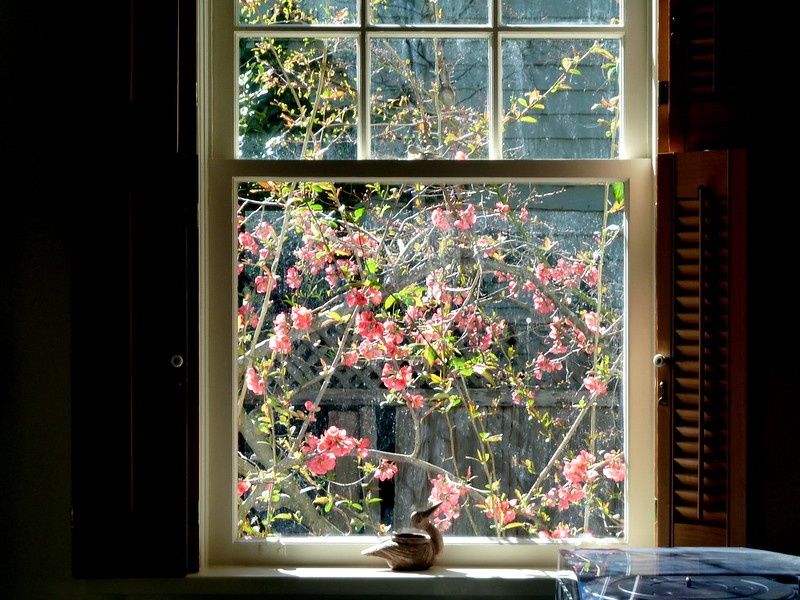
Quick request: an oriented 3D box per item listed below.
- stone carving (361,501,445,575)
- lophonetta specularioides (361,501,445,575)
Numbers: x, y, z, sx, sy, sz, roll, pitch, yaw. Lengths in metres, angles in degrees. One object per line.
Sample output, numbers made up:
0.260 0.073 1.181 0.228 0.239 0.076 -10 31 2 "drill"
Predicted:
0.015 0.744 3.507 0.228 0.231 0.215 5 0 16 "stone carving"
0.016 0.754 3.481 0.228 0.231 0.215 5 0 16 "lophonetta specularioides"
